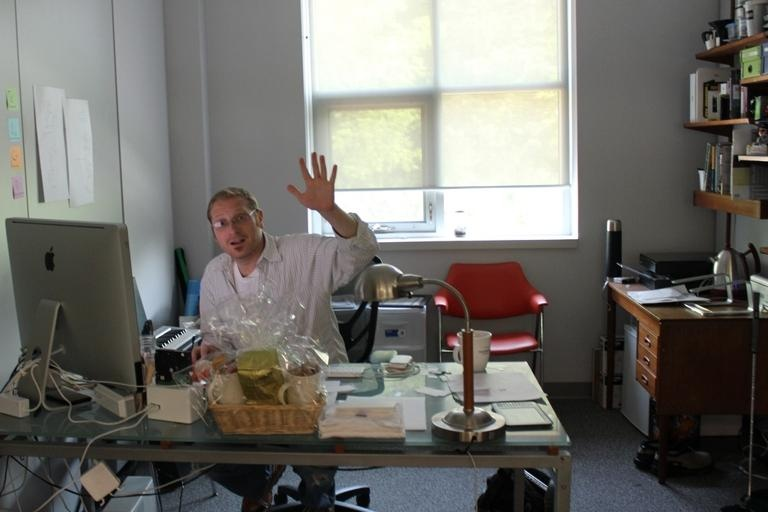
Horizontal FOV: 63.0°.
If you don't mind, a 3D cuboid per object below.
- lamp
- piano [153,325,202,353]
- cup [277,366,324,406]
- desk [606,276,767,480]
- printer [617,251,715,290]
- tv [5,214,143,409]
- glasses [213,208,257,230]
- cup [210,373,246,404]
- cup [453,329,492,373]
[{"bbox_3d":[0.269,0.424,2.843,0.862,1.017,0.462,0,5,5],"label":"lamp"},{"bbox_3d":[-1.415,0.564,4.305,0.313,0.095,0.356,1,6,0],"label":"piano"},{"bbox_3d":[-0.348,0.552,2.704,0.112,0.131,0.182,3,8,33],"label":"cup"},{"bbox_3d":[1.984,0.645,4.500,0.891,1.155,1.685,1,3,6],"label":"desk"},{"bbox_3d":[2.164,0.088,4.720,0.564,0.178,0.415,-3,6,5],"label":"printer"},{"bbox_3d":[-1.412,0.273,2.835,0.804,0.836,0.301,6,10,26],"label":"tv"},{"bbox_3d":[-0.786,-0.191,3.310,0.229,0.087,0.092,-6,15,-14],"label":"glasses"},{"bbox_3d":[-0.676,0.572,2.752,0.095,0.116,0.154,1,6,17],"label":"cup"},{"bbox_3d":[0.470,0.452,3.117,0.247,0.206,0.206,-6,0,8],"label":"cup"}]
